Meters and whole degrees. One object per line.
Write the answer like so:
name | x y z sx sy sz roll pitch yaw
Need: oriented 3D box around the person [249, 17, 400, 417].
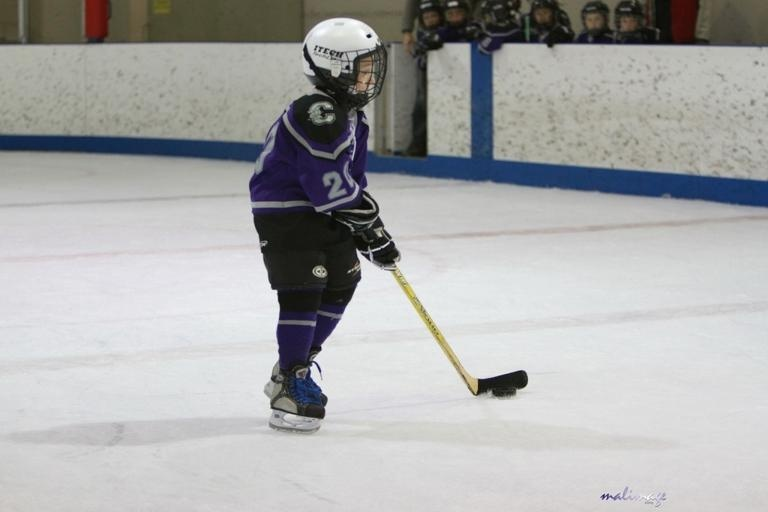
person | -0.186 -0.127 2.986 0.483 1.334 0.381 -1 9 -19

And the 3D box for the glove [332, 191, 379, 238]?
glove | -0.067 -0.145 3.021 0.163 0.143 0.114 18 32 -3

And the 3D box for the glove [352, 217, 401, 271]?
glove | -0.014 -0.039 3.092 0.125 0.197 0.079 -40 12 7

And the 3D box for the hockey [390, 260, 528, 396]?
hockey | 0.219 0.284 3.210 0.338 0.560 0.161 -27 -13 -47

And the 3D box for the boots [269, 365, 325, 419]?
boots | -0.288 0.445 2.943 0.170 0.150 0.164 1 8 -7

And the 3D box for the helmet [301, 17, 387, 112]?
helmet | -0.129 -0.637 2.939 0.340 0.277 0.268 4 13 7
